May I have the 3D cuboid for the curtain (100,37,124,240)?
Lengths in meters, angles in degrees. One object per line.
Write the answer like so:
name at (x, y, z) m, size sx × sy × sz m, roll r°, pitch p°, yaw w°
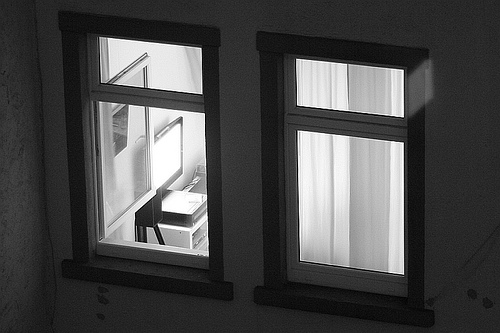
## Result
curtain at (-1.318, -0.286, 6.427) m, size 0.462 × 0.043 × 2.144 m, roll 0°, pitch -88°, yaw 35°

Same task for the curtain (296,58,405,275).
curtain at (0.893, 0.104, 5.788) m, size 1.268 × 0.063 × 2.313 m, roll 6°, pitch -64°, yaw 20°
